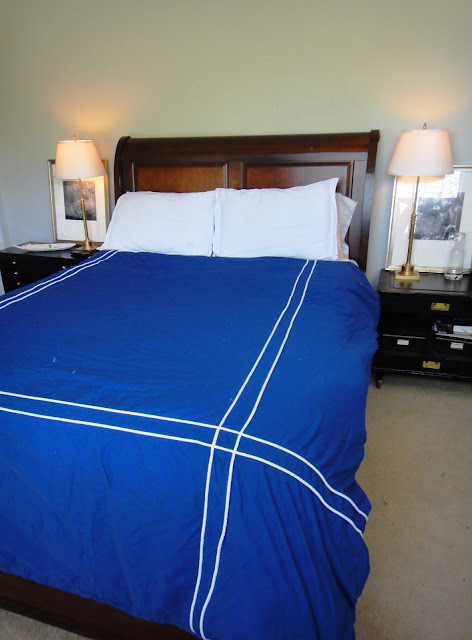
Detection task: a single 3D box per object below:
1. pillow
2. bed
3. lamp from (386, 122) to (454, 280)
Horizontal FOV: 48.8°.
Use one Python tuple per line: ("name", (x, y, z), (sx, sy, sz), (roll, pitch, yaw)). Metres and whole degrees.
("pillow", (-0.083, -0.536, 2.674), (1.208, 0.388, 0.241), (6, 15, 18))
("bed", (-0.242, 0.292, 2.479), (1.407, 1.504, 2.076), (8, 37, 16))
("lamp", (0.909, -0.592, 2.634), (0.298, 0.779, 0.371), (6, 15, 20))
